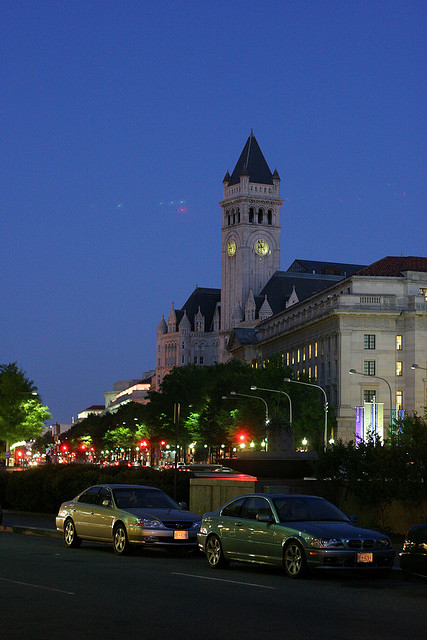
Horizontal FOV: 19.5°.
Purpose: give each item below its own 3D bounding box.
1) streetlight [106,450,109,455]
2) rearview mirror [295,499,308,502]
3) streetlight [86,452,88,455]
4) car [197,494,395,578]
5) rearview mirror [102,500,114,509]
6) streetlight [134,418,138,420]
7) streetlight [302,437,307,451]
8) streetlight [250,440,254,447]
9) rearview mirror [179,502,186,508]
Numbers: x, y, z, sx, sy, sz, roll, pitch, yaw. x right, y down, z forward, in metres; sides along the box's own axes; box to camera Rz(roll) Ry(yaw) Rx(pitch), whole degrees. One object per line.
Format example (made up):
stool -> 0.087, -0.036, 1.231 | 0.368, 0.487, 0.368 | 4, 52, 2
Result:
streetlight -> -18.052, 21.876, 208.407 | 0.136, 0.631, 0.577 | 6, -9, -26
rearview mirror -> 1.429, 2.967, 20.578 | 0.234, 0.039, 0.081 | 3, -6, -21
streetlight -> -23.508, 24.253, 228.224 | 0.338, 0.384, 0.675 | -1, -18, -3
car -> 1.172, 3.403, 20.070 | 1.314, 1.028, 2.897 | 7, -14, -31
rearview mirror -> -2.074, 3.507, 23.878 | 0.117, 0.184, 0.074 | -2, -3, 18
streetlight -> -11.702, 14.269, 181.986 | 0.747, 0.322, 0.281 | -1, -47, -2
streetlight -> 6.556, 8.805, 90.637 | 0.354, 1.452, 0.378 | -2, 0, 20
streetlight -> 2.870, 9.370, 95.448 | 0.155, 0.528, 0.546 | 2, -5, -17
rearview mirror -> -0.642, 3.583, 24.278 | 0.042, 0.179, 0.174 | -7, -6, 27
